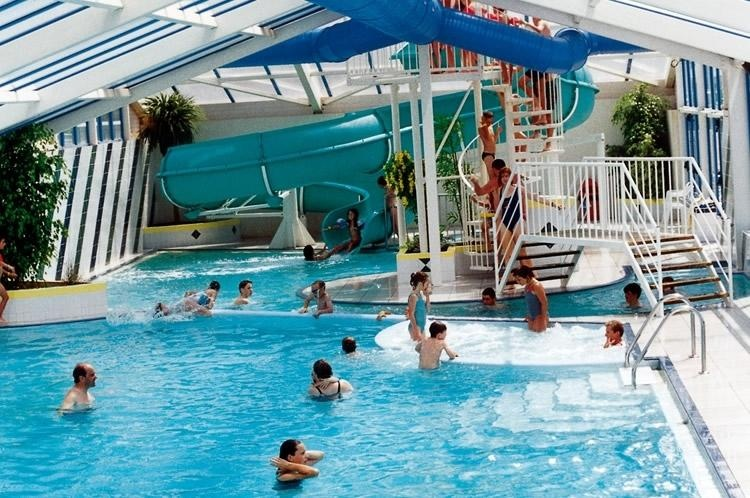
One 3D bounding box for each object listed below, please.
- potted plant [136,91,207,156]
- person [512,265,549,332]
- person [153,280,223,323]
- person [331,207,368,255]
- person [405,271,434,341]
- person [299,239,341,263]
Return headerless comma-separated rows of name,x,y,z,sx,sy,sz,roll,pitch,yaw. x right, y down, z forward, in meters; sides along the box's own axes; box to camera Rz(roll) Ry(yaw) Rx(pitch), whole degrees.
potted plant,-6.739,-4.069,18.564,1.839,1.733,1.779,0,5,-24
person,2.371,0.746,8.502,0.361,0.872,0.576,-8,14,-10
person,-3.503,0.987,10.724,1.047,0.417,0.542,-7,2,-29
person,-0.785,-0.557,15.462,0.927,1.076,1.055,-6,5,27
person,0.675,0.916,8.742,0.463,1.451,0.412,-3,27,3
person,-1.593,0.102,15.438,1.759,0.542,0.632,-6,10,-37
